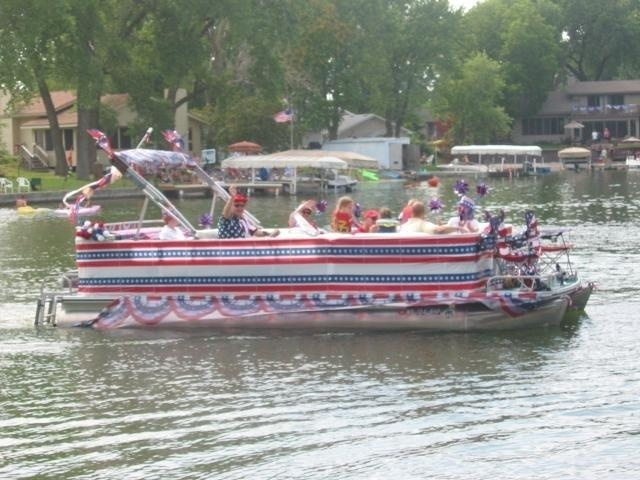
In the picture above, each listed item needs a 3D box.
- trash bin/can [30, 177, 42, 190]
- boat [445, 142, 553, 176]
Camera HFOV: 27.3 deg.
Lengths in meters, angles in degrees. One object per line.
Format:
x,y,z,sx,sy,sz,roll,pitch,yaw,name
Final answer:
-15.887,-3.085,73.356,0.854,0.731,0.769,0,0,-12,trash bin/can
14.585,-6.428,107.235,7.159,2.972,8.520,-10,13,-28,boat
